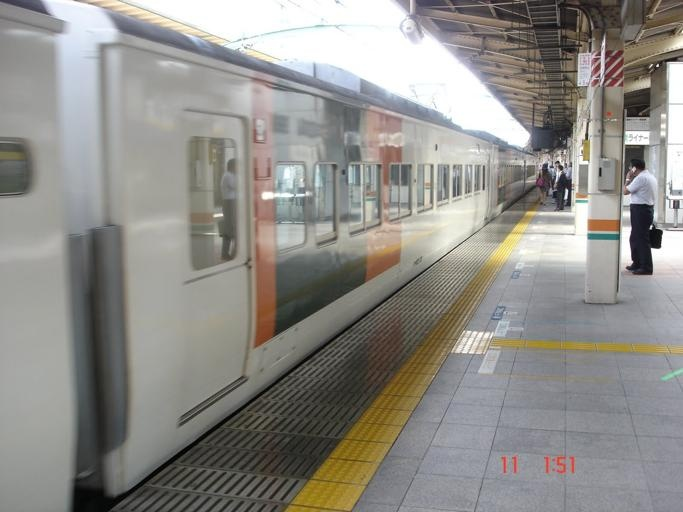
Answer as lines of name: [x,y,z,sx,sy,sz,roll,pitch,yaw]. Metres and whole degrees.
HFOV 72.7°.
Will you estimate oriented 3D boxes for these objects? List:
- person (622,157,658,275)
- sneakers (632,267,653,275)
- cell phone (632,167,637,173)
person: [6.191,-0.789,9.661,0.536,2.374,0.857,4,9,34]
sneakers: [6.421,0.326,9.994,0.419,0.171,0.161,5,6,17]
cell phone: [6.181,-1.820,9.807,0.059,0.155,0.120,3,3,-5]
